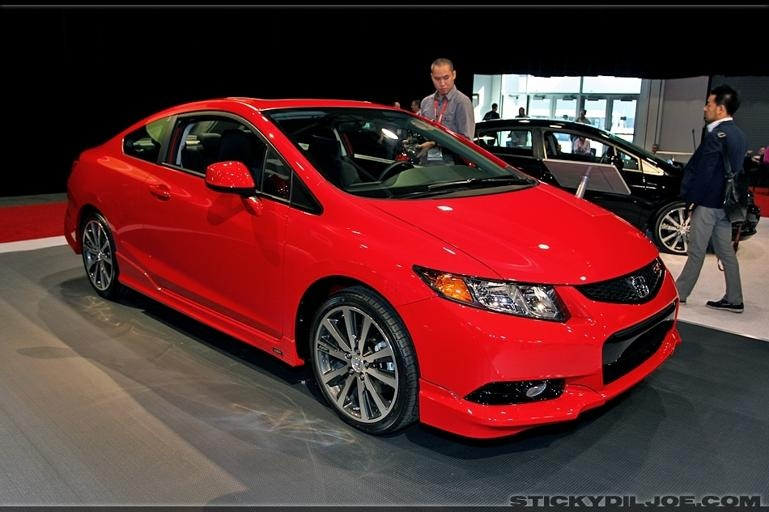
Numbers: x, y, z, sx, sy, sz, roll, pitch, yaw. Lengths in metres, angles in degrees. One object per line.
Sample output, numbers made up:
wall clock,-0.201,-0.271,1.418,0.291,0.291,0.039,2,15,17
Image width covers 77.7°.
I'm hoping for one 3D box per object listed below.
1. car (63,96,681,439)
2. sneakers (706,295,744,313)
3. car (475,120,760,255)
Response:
car,-0.513,-0.118,3.628,4.356,1.343,2.228,18,25,37
sneakers,3.324,0.498,4.736,0.394,0.143,0.136,10,14,25
car,2.818,-1.189,7.051,4.246,1.301,1.804,11,13,13
